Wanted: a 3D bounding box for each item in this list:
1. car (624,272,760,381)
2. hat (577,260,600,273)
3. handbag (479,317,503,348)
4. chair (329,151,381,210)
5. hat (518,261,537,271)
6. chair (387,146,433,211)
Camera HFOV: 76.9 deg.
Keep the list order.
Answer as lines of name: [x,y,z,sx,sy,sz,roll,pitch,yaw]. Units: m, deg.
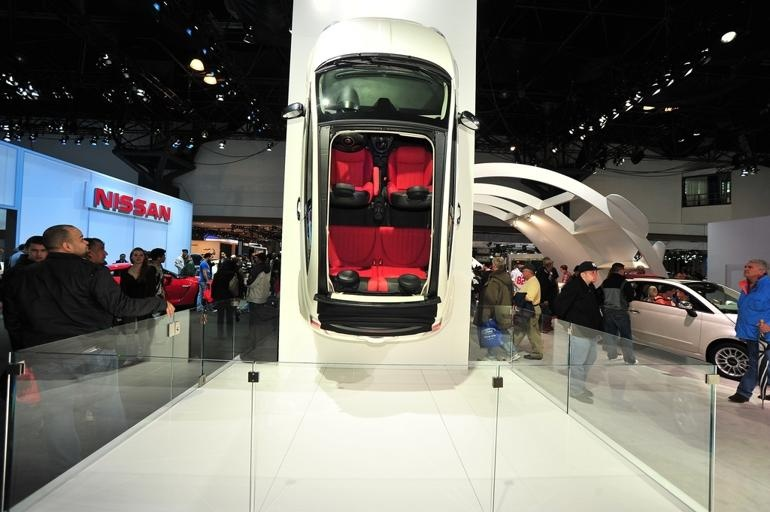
car: [5.971,1.338,10.219,1.967,1.667,3.217,3,-6,-29]
hat: [3.307,0.192,7.912,0.307,0.202,0.226,-4,6,0]
handbag: [1.996,1.436,9.075,0.463,0.642,0.255,8,22,41]
chair: [-0.539,-1.203,7.007,0.668,0.944,0.888,-1,22,3]
hat: [3.629,0.266,12.444,0.257,0.360,0.332,6,1,-2]
chair: [0.393,-1.153,7.049,0.681,0.817,0.937,-1,18,-9]
